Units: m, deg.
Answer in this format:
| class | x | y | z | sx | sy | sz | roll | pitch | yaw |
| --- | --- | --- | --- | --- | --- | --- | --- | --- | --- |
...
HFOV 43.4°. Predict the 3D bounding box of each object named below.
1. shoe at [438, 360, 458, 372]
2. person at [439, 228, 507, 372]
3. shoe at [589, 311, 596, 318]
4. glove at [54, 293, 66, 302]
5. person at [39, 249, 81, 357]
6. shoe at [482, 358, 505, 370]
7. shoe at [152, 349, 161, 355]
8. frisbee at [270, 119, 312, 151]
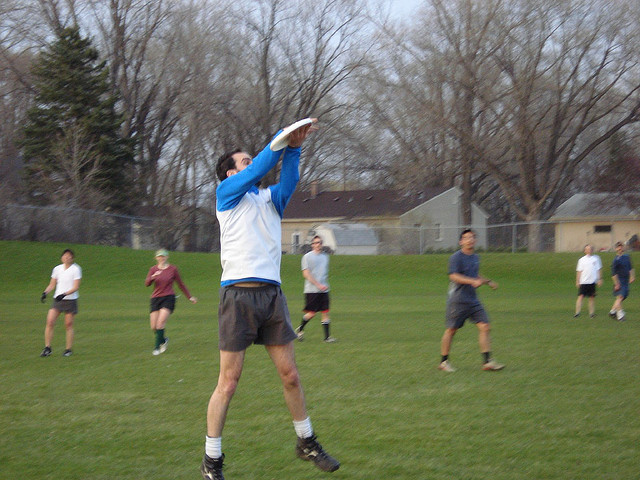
| class | x | y | z | sx | sy | sz | roll | pitch | yaw |
| --- | --- | --- | --- | --- | --- | --- | --- | --- | --- |
| shoe | 2.774 | 2.674 | 17.427 | 0.439 | 0.246 | 0.413 | 1 | 1 | -6 |
| person | 3.303 | 1.258 | 17.811 | 1.233 | 3.096 | 1.589 | 1 | 0 | 10 |
| shoe | 8.213 | 2.211 | 24.262 | 0.182 | 0.170 | 0.435 | -1 | -7 | 2 |
| glove | -6.236 | 1.340 | 19.223 | 0.259 | 0.061 | 0.175 | -32 | -19 | 3 |
| person | -6.265 | 1.466 | 19.315 | 0.854 | 2.389 | 0.630 | 1 | 0 | -10 |
| shoe | 3.766 | 2.662 | 17.283 | 0.589 | 0.212 | 0.189 | -5 | -3 | 19 |
| shoe | -3.970 | 2.648 | 19.330 | 0.227 | 0.108 | 0.187 | 1 | 1 | 17 |
| frisbee | -0.497 | -1.699 | 12.875 | 0.580 | 0.125 | 0.572 | -32 | -2 | 4 |
